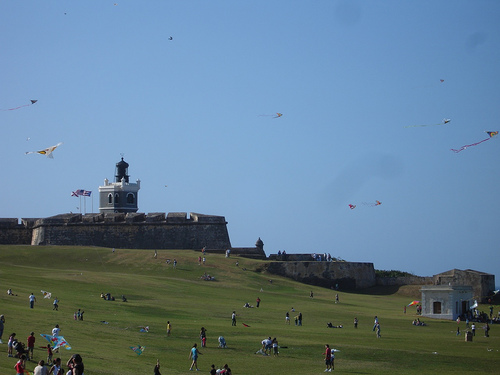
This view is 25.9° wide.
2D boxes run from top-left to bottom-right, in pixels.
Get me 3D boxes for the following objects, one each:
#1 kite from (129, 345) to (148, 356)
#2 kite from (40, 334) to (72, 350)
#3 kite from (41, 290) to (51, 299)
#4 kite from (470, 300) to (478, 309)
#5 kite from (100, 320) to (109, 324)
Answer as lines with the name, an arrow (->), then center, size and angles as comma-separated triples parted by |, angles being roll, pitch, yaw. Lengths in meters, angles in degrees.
kite -> -8.837, 12.848, 86.504 | 1.192, 1.174, 0.284 | 3, -32, 13
kite -> -14.624, 11.961, 81.246 | 1.804, 0.657, 1.818 | 21, -11, 22
kite -> -19.274, 10.267, 103.112 | 0.503, 0.820, 1.335 | 31, -10, -31
kite -> 24.158, 12.678, 117.690 | 0.322, 1.017, 1.069 | 22, -2, 6
kite -> -12.764, 11.875, 95.448 | 0.561, 0.262, 0.695 | 4, -12, -20
